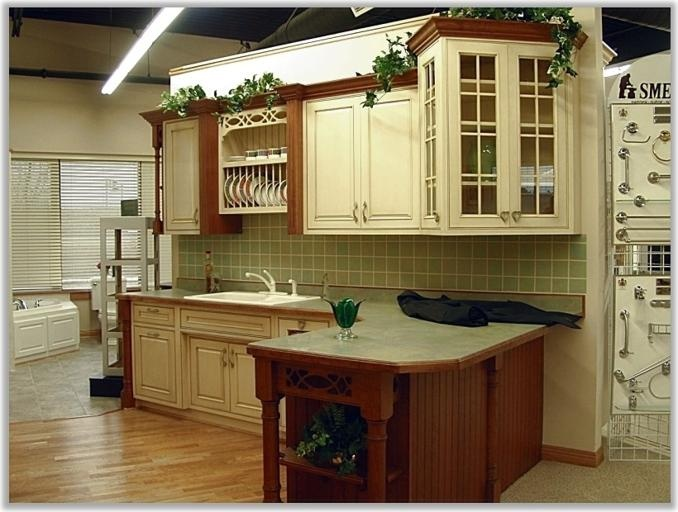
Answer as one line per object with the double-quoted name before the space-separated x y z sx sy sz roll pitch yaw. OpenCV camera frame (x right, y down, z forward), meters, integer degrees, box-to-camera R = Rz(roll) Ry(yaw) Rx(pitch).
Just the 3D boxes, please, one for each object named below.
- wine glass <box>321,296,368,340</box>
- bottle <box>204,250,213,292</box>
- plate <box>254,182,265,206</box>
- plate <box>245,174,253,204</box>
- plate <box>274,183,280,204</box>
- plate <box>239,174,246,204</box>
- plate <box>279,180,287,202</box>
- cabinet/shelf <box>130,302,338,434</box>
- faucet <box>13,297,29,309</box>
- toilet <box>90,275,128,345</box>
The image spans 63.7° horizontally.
"wine glass" 0.031 0.406 3.506 0.308 0.235 0.128 0 -3 3
"bottle" -1.305 0.145 5.492 0.077 0.398 0.236 -2 7 -9
"plate" -0.715 -0.559 4.866 0.035 0.166 0.164 4 -21 -32
"plate" -0.821 -0.610 4.942 0.042 0.198 0.171 1 -7 -31
"plate" -0.546 -0.550 4.781 0.051 0.187 0.144 -2 7 -6
"plate" -0.886 -0.618 4.995 0.039 0.186 0.190 3 -5 -14
"plate" -0.480 -0.556 4.703 0.067 0.191 0.189 -2 7 -7
"cabinet/shelf" -0.755 0.946 4.860 2.461 1.153 0.797 1 4 32
"faucet" -4.285 0.663 7.328 0.146 0.122 0.471 -5 8 -32
"toilet" -3.371 0.709 7.961 0.603 0.748 0.435 1 13 13
